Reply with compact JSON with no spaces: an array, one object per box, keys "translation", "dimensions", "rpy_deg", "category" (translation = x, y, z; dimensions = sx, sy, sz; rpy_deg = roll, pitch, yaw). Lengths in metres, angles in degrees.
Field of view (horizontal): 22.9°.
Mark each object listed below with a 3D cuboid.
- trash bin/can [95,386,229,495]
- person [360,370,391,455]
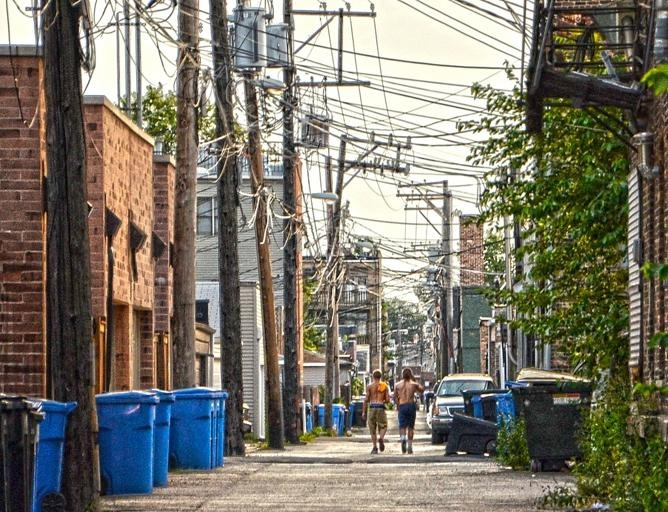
[{"translation":[-2.875,3.000,25.833],"dimensions":[0.892,2.392,1.469],"rpy_deg":[0,-9,1],"category":"trash bin/can"},{"translation":[0.892,3.537,36.194],"dimensions":[0.497,1.925,0.814],"rpy_deg":[-1,-4,11],"category":"person"}]
